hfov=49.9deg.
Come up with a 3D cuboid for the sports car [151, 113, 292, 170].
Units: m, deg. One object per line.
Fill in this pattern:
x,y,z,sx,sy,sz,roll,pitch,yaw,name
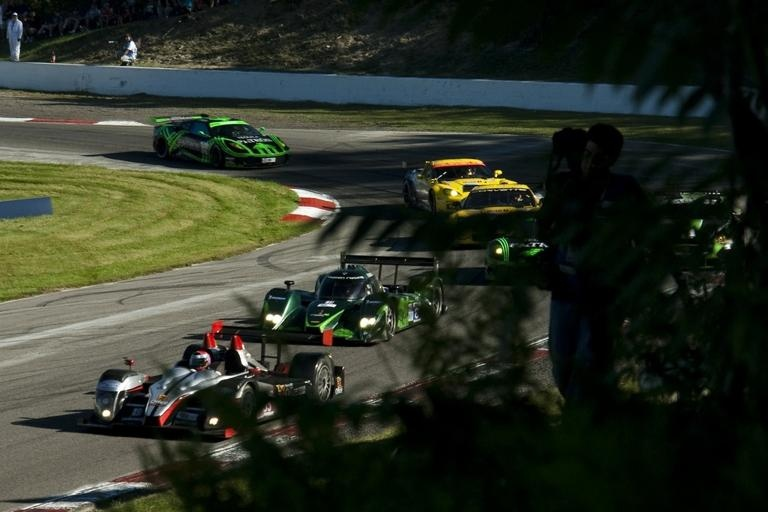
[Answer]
-5.007,-3.549,25.389,3.741,0.971,2.048,8,12,36,sports car
